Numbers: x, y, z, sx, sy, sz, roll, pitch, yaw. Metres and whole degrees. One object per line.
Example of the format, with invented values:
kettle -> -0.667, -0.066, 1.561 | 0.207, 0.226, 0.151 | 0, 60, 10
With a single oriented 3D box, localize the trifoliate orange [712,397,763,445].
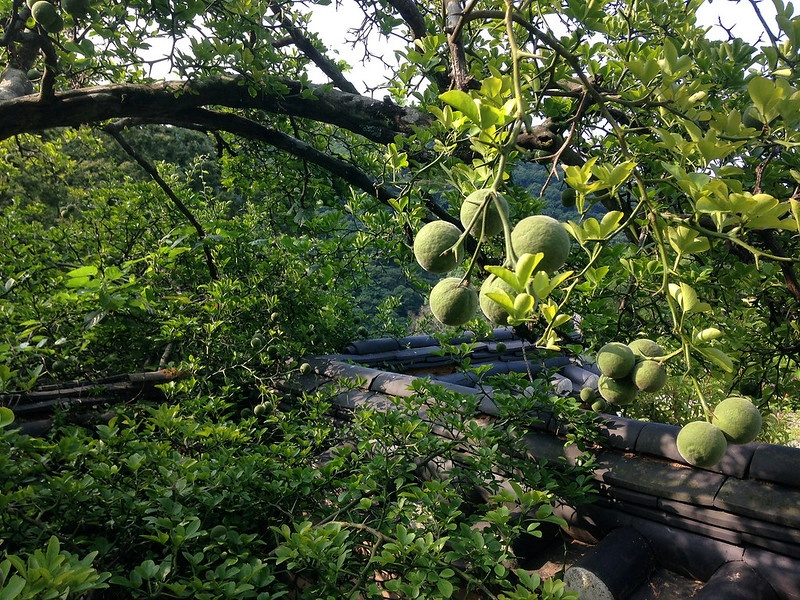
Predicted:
trifoliate orange -> 1.184, 0.414, 1.922 | 0.179, 0.161, 0.167 | 4, 12, 26

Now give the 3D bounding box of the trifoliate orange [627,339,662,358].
trifoliate orange -> 0.943, 0.175, 2.055 | 0.074, 0.052, 0.095 | -7, 12, -41

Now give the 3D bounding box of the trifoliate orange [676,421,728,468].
trifoliate orange -> 1.081, 0.518, 1.905 | 0.136, 0.177, 0.160 | -2, -4, 34

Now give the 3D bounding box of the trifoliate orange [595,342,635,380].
trifoliate orange -> 0.820, 0.228, 2.082 | 0.140, 0.154, 0.143 | 5, -8, 45

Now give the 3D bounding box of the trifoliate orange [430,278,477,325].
trifoliate orange -> 0.192, 0.003, 1.882 | 0.159, 0.169, 0.147 | 0, -3, 8

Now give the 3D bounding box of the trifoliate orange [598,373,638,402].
trifoliate orange -> 0.825, 0.344, 2.063 | 0.118, 0.126, 0.114 | 5, 17, 10

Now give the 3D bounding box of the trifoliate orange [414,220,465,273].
trifoliate orange -> 0.141, -0.194, 1.862 | 0.198, 0.190, 0.148 | -1, -4, 23

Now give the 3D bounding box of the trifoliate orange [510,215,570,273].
trifoliate orange -> 0.468, -0.168, 1.757 | 0.203, 0.214, 0.194 | 0, 2, 18

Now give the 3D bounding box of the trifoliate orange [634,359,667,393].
trifoliate orange -> 0.928, 0.279, 1.984 | 0.125, 0.137, 0.124 | -4, -6, 15

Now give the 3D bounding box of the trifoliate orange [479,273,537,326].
trifoliate orange -> 0.348, -0.007, 1.756 | 0.156, 0.169, 0.150 | -6, 10, 10
